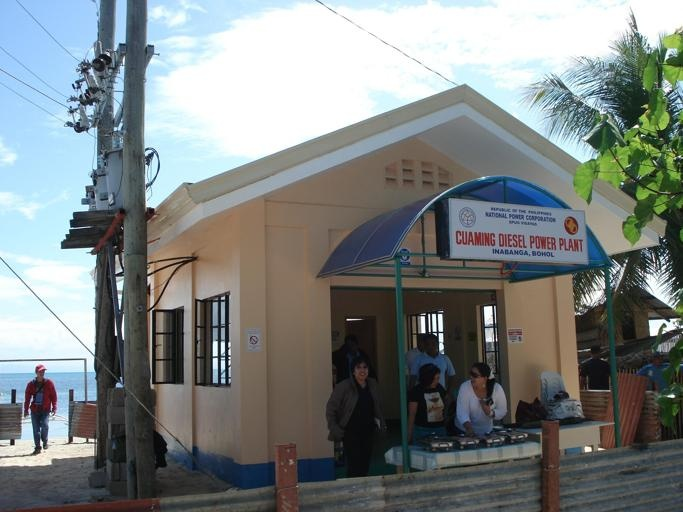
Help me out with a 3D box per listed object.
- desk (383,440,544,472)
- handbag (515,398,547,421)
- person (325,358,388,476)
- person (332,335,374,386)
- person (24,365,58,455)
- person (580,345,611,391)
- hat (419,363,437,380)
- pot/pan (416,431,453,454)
[{"bbox_3d":[1.870,2.755,10.038,1.782,0.309,0.562,0,-13,-17],"label":"desk"},{"bbox_3d":[3.200,2.654,12.196,0.522,0.437,0.321,2,-21,-19],"label":"handbag"},{"bbox_3d":[0.219,2.404,10.879,0.876,1.760,0.463,-2,-10,-6],"label":"person"},{"bbox_3d":[0.200,2.255,13.841,0.737,1.606,0.474,-1,13,-7],"label":"person"},{"bbox_3d":[-7.081,3.603,17.024,0.704,2.043,1.416,2,-12,-24],"label":"person"},{"bbox_3d":[5.948,2.605,16.860,0.576,1.030,1.223,-6,-12,16],"label":"person"},{"bbox_3d":[1.337,1.754,11.066,0.240,0.273,0.200,-5,-1,-3],"label":"hat"},{"bbox_3d":[1.353,2.667,10.396,0.531,0.244,1.313,-5,-13,5],"label":"pot/pan"}]
